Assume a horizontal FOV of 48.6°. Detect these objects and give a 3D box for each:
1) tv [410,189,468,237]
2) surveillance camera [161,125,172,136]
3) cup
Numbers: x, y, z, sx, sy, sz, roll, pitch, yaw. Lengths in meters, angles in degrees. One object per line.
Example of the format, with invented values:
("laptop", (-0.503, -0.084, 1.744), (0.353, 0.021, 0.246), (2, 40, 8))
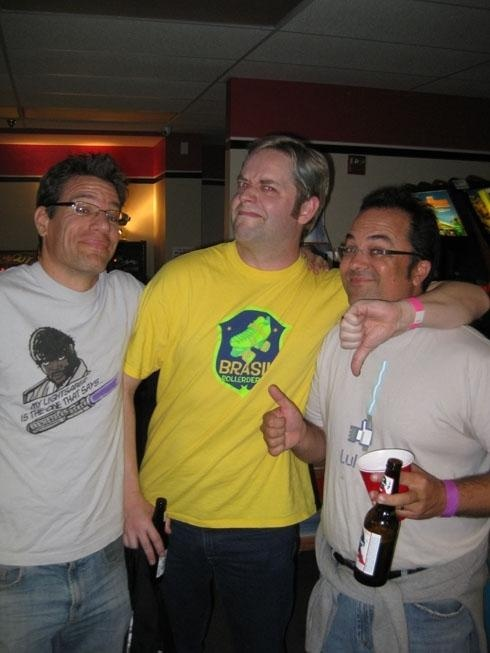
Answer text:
("tv", (1.303, -0.765, 3.655), (0.374, 0.338, 0.028), (6, 26, 42))
("surveillance camera", (-1.198, -3.000, 8.325), (0.132, 0.150, 0.167), (7, 1, -14))
("cup", (0.333, 0.366, 1.319), (0.133, 0.152, 0.149), (2, 12, 19))
